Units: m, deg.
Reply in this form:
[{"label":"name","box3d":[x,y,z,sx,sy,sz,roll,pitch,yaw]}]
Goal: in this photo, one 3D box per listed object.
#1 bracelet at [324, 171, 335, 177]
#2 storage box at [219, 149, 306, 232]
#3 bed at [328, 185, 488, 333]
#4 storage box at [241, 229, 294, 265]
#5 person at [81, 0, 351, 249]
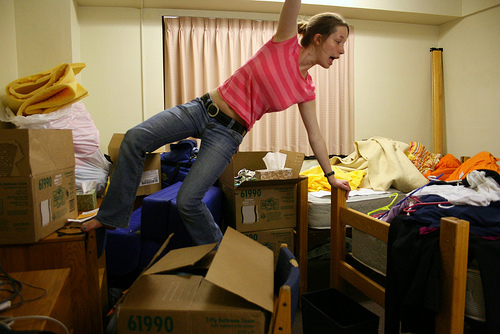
[{"label":"bracelet","box3d":[0.585,0.049,2.800,0.062,0.043,0.068,-8,-4,3]},{"label":"storage box","box3d":[0.099,0.278,3.247,0.603,0.550,0.789,-3,7,-12]},{"label":"bed","box3d":[0.905,0.575,2.478,0.354,0.777,0.941,-6,8,-30]},{"label":"storage box","box3d":[0.200,0.569,3.039,0.310,0.203,0.314,0,1,-9]},{"label":"person","box3d":[-0.131,-0.272,2.585,1.713,1.549,0.416,-3,7,-6]}]
